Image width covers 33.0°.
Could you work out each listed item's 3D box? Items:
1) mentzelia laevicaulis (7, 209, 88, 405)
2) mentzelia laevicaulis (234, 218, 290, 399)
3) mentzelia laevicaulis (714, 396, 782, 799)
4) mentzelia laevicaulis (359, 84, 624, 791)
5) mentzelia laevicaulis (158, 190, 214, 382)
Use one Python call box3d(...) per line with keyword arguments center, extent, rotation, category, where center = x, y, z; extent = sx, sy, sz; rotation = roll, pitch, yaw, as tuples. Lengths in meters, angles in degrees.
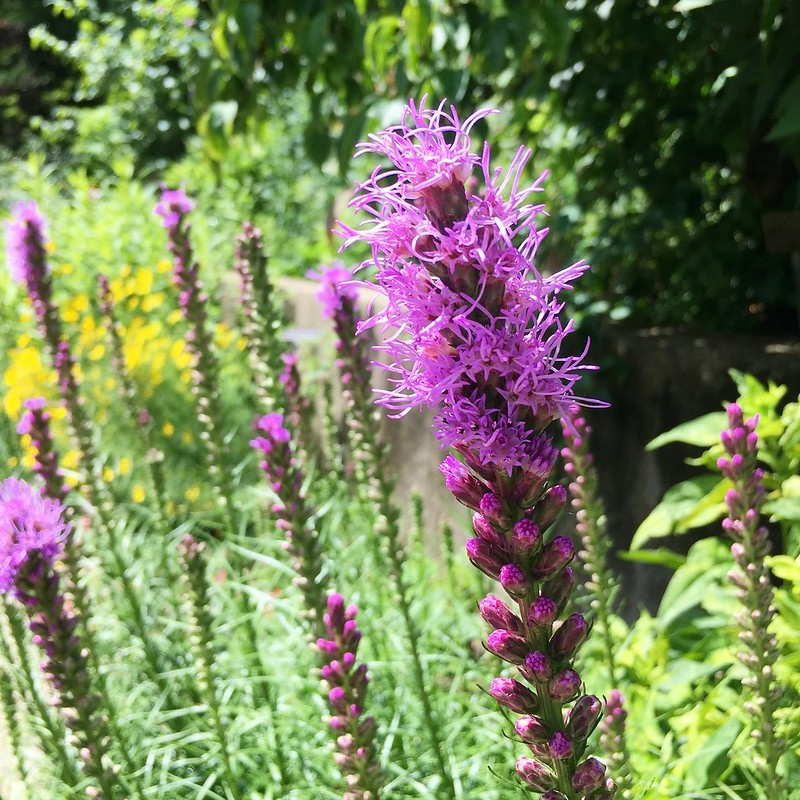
box3d(center=(-1.114, -0.349, 4.219), extent=(0.140, 0.727, 0.155), rotation=(-12, 23, 0), category="mentzelia laevicaulis")
box3d(center=(-0.457, -0.263, 4.417), extent=(0.136, 0.616, 0.323), rotation=(-4, 4, -6), category="mentzelia laevicaulis")
box3d(center=(0.963, 0.539, 3.668), extent=(0.124, 1.063, 0.178), rotation=(-7, 6, -38), category="mentzelia laevicaulis")
box3d(center=(0.256, 0.078, 3.404), extent=(0.560, 1.727, 0.544), rotation=(-19, 12, -36), category="mentzelia laevicaulis")
box3d(center=(-0.705, -0.384, 4.453), extent=(0.137, 0.651, 0.391), rotation=(-5, 4, -10), category="mentzelia laevicaulis")
